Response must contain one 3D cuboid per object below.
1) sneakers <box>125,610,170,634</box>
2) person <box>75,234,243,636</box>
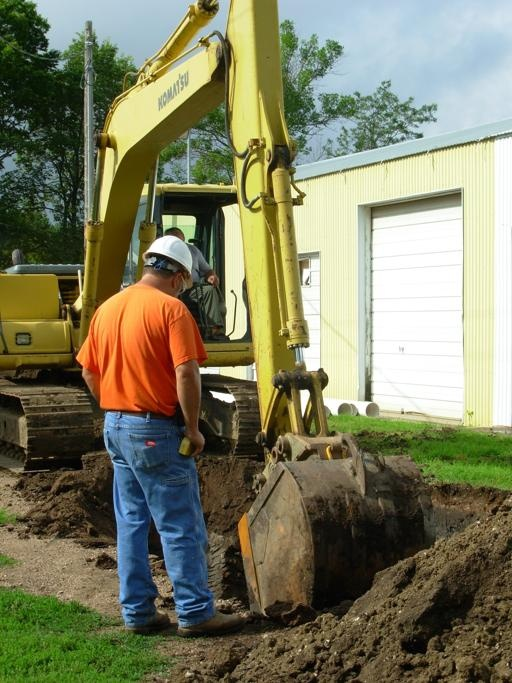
[{"bbox_3d":[-0.528,1.364,3.556,0.075,0.084,0.206,7,5,35],"label":"sneakers"},{"bbox_3d":[-0.486,0.438,3.616,0.708,1.944,0.418,-1,-1,42],"label":"person"}]
